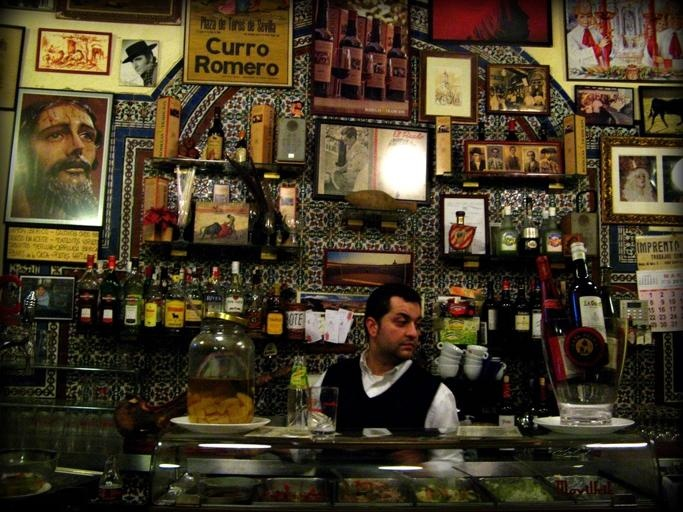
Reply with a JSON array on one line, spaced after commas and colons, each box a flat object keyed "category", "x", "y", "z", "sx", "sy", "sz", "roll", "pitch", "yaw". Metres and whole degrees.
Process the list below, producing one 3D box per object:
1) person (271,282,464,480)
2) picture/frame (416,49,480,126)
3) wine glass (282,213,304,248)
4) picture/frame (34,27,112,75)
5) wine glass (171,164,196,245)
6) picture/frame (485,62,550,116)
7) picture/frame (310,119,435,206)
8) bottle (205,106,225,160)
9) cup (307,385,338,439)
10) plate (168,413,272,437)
[{"category": "person", "x": 0.169, "y": 0.740, "z": 4.028, "sx": 0.921, "sy": 1.512, "sz": 0.496, "roll": 5, "pitch": -45, "yaw": -2}, {"category": "picture/frame", "x": 0.874, "y": -1.363, "z": 5.517, "sx": 0.764, "sy": 0.725, "sz": 0.040, "roll": 1, "pitch": -6, "yaw": -7}, {"category": "wine glass", "x": -0.307, "y": -0.176, "z": 5.185, "sx": 0.219, "sy": 0.204, "sz": 0.202, "roll": 2, "pitch": 3, "yaw": 3}, {"category": "picture/frame", "x": -2.174, "y": -1.633, "z": 5.378, "sx": 0.468, "sy": 0.273, "sz": 0.017, "roll": 0, "pitch": -2, "yaw": 0}, {"category": "wine glass", "x": -1.193, "y": -0.402, "z": 5.095, "sx": 0.135, "sy": 0.599, "sz": 0.244, "roll": 3, "pitch": -6, "yaw": -13}, {"category": "picture/frame", "x": 1.472, "y": -1.367, "z": 5.557, "sx": 0.503, "sy": 0.340, "sz": 0.046, "roll": 1, "pitch": -5, "yaw": -2}, {"category": "picture/frame", "x": 0.224, "y": -0.725, "z": 5.386, "sx": 0.826, "sy": 0.483, "sz": 0.031, "roll": 2, "pitch": -9, "yaw": -8}, {"category": "bottle", "x": -0.978, "y": -0.959, "z": 5.246, "sx": 0.155, "sy": 0.460, "sz": 0.213, "roll": 3, "pitch": -6, "yaw": -10}, {"category": "cup", "x": -0.073, "y": 0.686, "z": 2.982, "sx": 0.129, "sy": 0.209, "sz": 0.110, "roll": 2, "pitch": -6, "yaw": -10}, {"category": "plate", "x": -0.534, "y": 0.746, "z": 3.016, "sx": 0.432, "sy": 0.061, "sz": 0.256, "roll": 1, "pitch": -4, "yaw": -7}]
